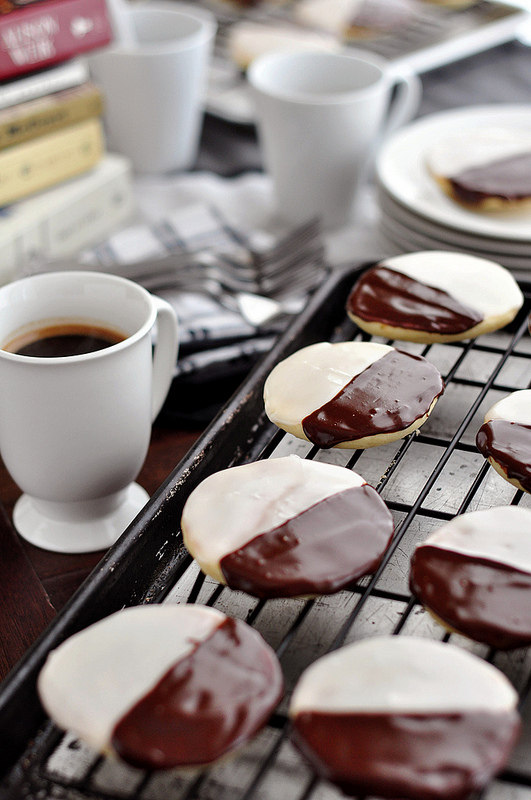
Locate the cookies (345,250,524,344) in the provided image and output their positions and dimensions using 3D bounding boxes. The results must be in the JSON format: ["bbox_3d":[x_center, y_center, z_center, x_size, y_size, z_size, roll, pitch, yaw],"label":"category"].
[{"bbox_3d":[0.130,-0.078,0.499,0.124,0.038,0.090,-22,37,-21],"label":"cookies"}]

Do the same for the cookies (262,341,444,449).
[{"bbox_3d":[0.052,-0.005,0.418,0.103,0.026,0.091,13,39,27],"label":"cookies"}]

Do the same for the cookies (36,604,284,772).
[{"bbox_3d":[-0.039,0.103,0.253,0.085,0.013,0.064,13,39,27],"label":"cookies"}]

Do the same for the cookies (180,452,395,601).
[{"bbox_3d":[0.007,0.059,0.327,0.090,0.023,0.097,30,40,35],"label":"cookies"}]
